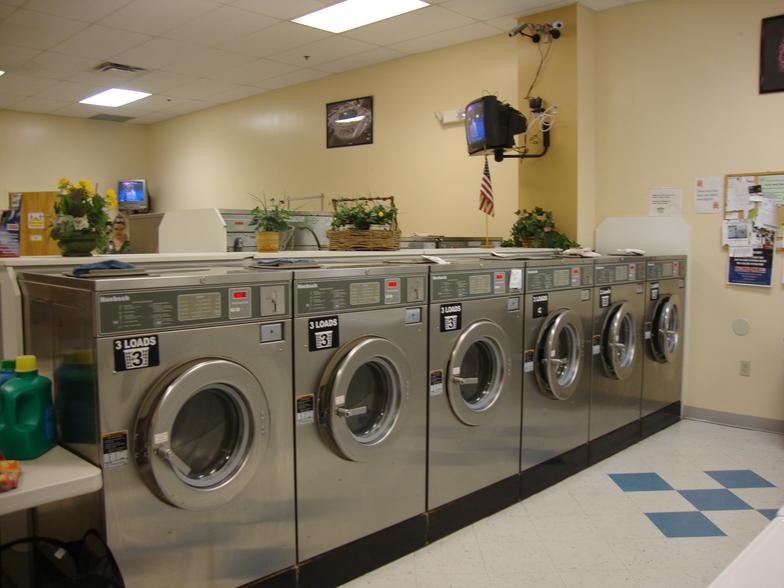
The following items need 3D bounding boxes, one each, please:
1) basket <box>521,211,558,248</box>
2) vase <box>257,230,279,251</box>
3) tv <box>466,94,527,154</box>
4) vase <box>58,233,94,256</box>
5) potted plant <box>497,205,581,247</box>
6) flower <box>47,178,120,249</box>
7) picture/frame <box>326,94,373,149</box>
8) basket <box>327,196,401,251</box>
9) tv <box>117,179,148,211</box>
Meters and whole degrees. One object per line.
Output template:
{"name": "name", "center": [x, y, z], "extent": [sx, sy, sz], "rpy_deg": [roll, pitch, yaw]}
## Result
{"name": "basket", "center": [1.412, -0.592, 5.488], "extent": [0.364, 0.414, 0.349], "rpy_deg": [2, -5, -36]}
{"name": "vase", "center": [-0.821, -0.341, 3.612], "extent": [0.124, 0.098, 0.127], "rpy_deg": [0, 2, 18]}
{"name": "tv", "center": [0.991, -1.547, 5.228], "extent": [0.582, 0.437, 0.464], "rpy_deg": [-6, 5, -27]}
{"name": "vase", "center": [-1.680, -0.255, 2.966], "extent": [0.137, 0.089, 0.136], "rpy_deg": [-1, 5, -36]}
{"name": "potted plant", "center": [1.397, -0.606, 5.576], "extent": [0.589, 0.442, 0.510], "rpy_deg": [1, 3, 23]}
{"name": "flower", "center": [-1.683, -0.417, 3.010], "extent": [0.286, 0.411, 0.358], "rpy_deg": [-3, 8, -18]}
{"name": "picture/frame", "center": [-0.564, -2.332, 7.516], "extent": [0.793, 0.641, 0.039], "rpy_deg": [8, 14, 44]}
{"name": "basket", "center": [-0.198, -0.468, 3.895], "extent": [0.551, 0.378, 0.488], "rpy_deg": [0, 1, 15]}
{"name": "tv", "center": [-4.982, -1.860, 10.585], "extent": [0.539, 0.618, 0.427], "rpy_deg": [-2, 8, -11]}
